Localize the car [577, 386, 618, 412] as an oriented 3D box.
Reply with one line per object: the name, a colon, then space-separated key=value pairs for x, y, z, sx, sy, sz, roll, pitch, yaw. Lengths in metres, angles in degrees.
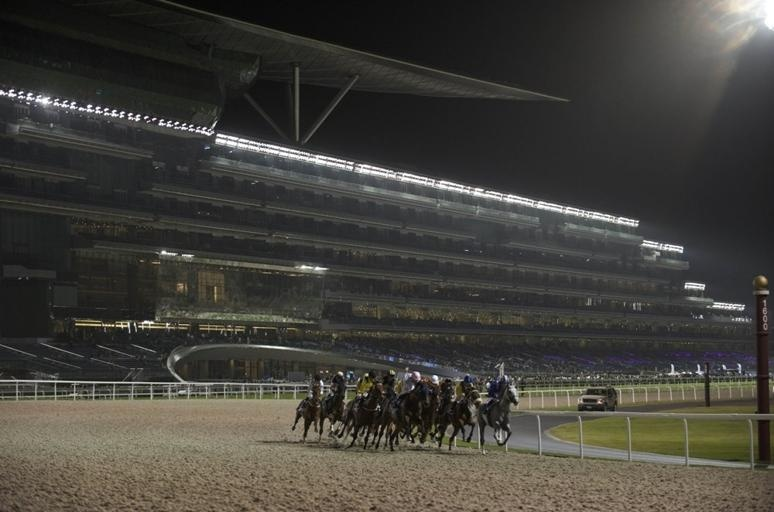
car: x=15.173 y=10.302 z=75.654 sx=2.467 sy=1.830 sz=3.227 roll=-3 pitch=-13 yaw=21
